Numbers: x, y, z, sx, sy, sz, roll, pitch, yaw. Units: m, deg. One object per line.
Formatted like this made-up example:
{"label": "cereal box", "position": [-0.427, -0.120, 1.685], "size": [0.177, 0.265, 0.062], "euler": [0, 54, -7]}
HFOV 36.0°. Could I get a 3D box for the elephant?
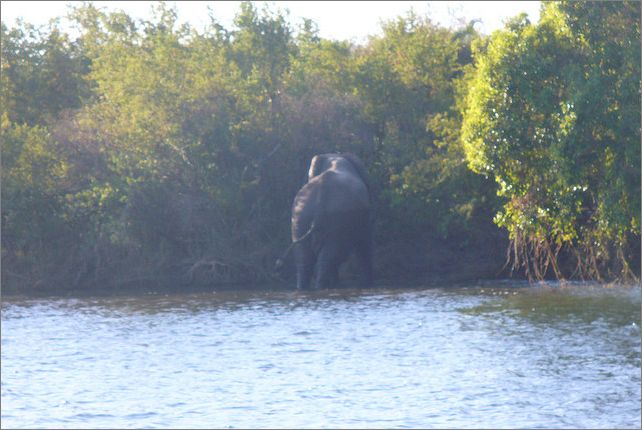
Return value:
{"label": "elephant", "position": [0.385, 0.040, 34.382], "size": [2.615, 5.154, 2.344], "euler": [-2, -12, 13]}
